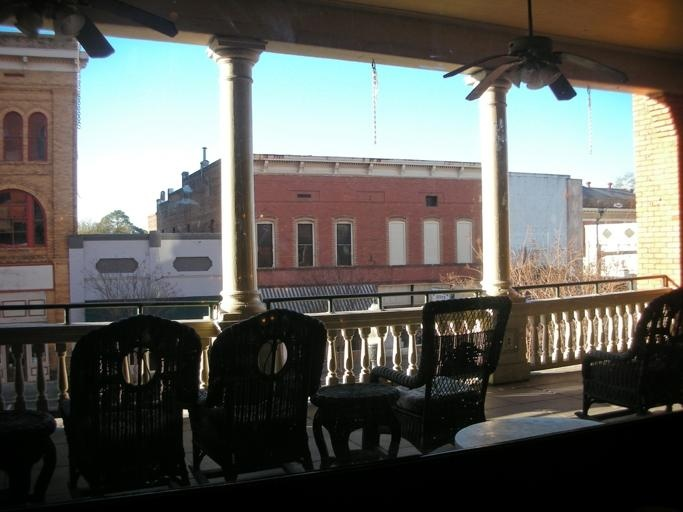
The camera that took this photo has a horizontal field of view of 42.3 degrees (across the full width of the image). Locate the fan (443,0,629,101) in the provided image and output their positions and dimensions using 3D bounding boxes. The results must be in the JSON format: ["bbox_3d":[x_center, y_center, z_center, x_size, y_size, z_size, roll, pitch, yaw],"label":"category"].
[{"bbox_3d":[1.264,-1.318,5.798,1.120,0.439,0.760,-1,1,18],"label":"fan"}]

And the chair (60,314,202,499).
[{"bbox_3d":[-0.978,0.649,4.370,0.780,1.062,0.767,-1,3,-22],"label":"chair"}]

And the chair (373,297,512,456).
[{"bbox_3d":[0.571,0.608,4.992,0.714,1.125,0.808,-1,2,-31],"label":"chair"}]

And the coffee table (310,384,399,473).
[{"bbox_3d":[0.094,0.848,4.421,0.398,0.419,0.389,3,-6,-23],"label":"coffee table"}]
